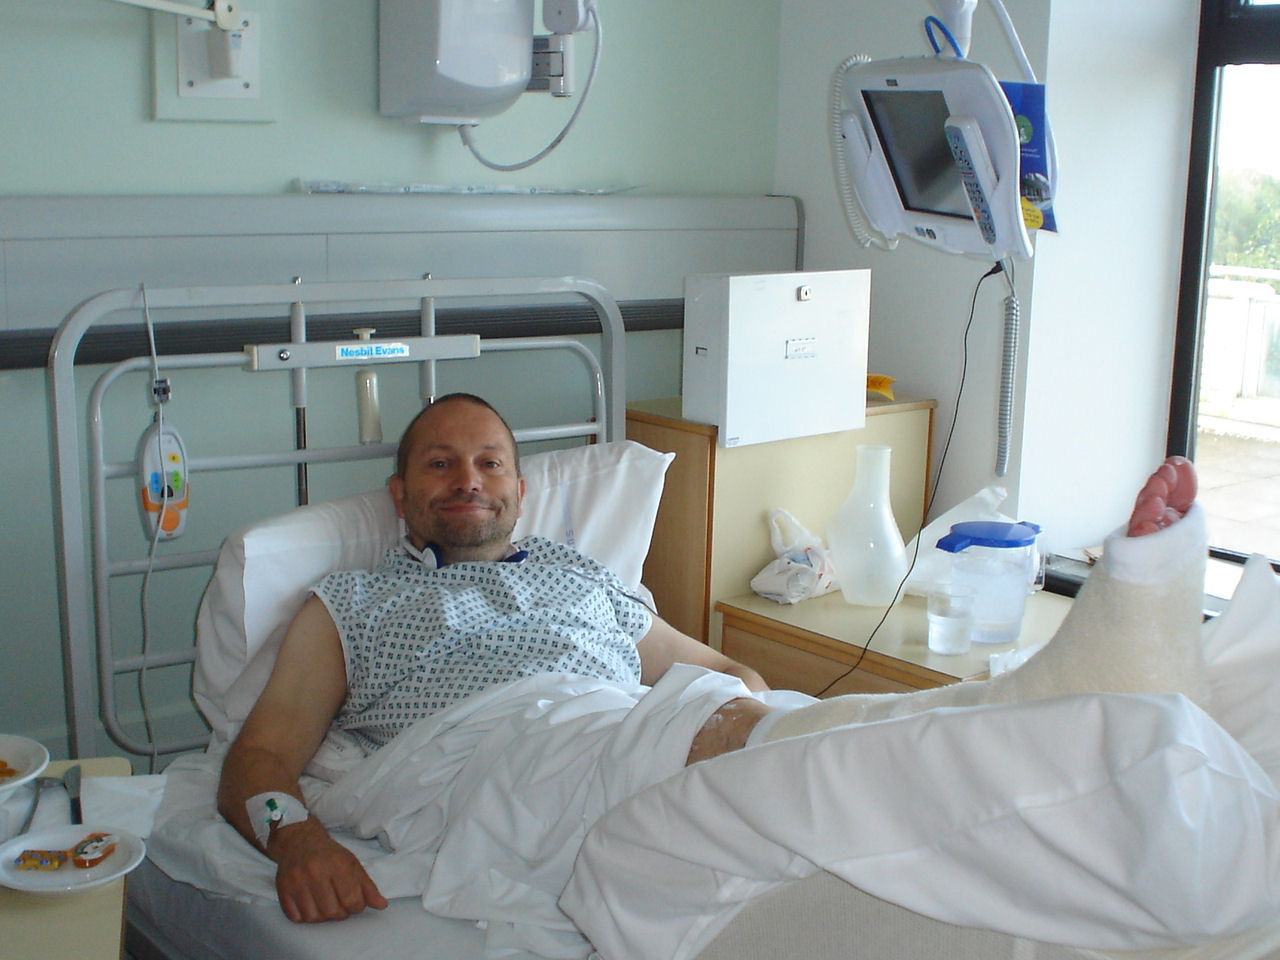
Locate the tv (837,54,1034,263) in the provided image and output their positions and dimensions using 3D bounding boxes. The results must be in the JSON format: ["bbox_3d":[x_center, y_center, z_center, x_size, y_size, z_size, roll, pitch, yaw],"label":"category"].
[{"bbox_3d":[0.518,-0.578,1.767,0.119,0.391,0.426,-29,33,-21],"label":"tv"}]

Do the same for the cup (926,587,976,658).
[{"bbox_3d":[0.708,0.321,2.212,0.149,0.132,0.159,-1,4,0],"label":"cup"}]

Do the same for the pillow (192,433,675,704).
[{"bbox_3d":[-0.403,0.026,1.903,0.593,0.254,0.572,-15,38,-27],"label":"pillow"}]

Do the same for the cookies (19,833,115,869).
[{"bbox_3d":[-0.649,0.416,1.103,0.059,0.014,0.038,0,7,-6],"label":"cookies"}]

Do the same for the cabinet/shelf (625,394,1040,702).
[{"bbox_3d":[0.510,0.136,2.523,0.735,0.763,0.708,-9,15,-35],"label":"cabinet/shelf"}]

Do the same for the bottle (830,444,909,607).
[{"bbox_3d":[0.569,0.113,2.424,0.199,0.412,0.170,15,26,42],"label":"bottle"}]
